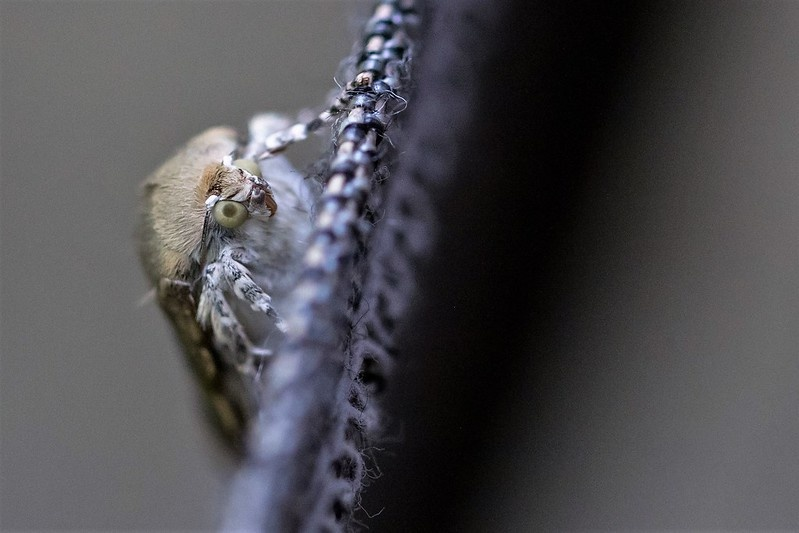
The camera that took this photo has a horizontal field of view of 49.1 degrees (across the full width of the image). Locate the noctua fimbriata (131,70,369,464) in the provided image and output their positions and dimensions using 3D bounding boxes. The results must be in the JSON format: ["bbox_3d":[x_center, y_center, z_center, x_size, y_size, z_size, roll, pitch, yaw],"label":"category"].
[{"bbox_3d":[-0.474,-0.100,1.972,0.228,0.603,0.741,25,-4,-29],"label":"noctua fimbriata"}]
